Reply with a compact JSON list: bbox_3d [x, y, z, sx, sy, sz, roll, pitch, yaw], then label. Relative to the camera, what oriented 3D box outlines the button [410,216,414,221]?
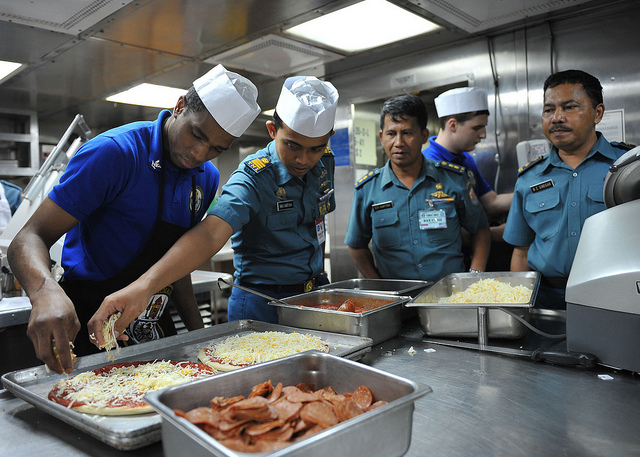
[{"bbox_3d":[0.558,-0.065,2.661,0.022,0.018,0.004,2,12,13],"label":"button"}]

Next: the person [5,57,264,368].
[{"bbox_3d":[-0.774,-0.059,1.817,0.640,1.203,0.905,10,16,43],"label":"person"}]

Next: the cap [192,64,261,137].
[{"bbox_3d":[-0.368,-0.533,1.837,0.287,0.292,0.202,-7,13,-29],"label":"cap"}]

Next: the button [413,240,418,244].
[{"bbox_3d":[0.577,0.076,2.656,0.026,0.023,0.006,2,12,15],"label":"button"}]

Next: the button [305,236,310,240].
[{"bbox_3d":[-0.063,0.044,2.284,0.018,0.017,0.004,4,-14,-39],"label":"button"}]

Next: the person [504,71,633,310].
[{"bbox_3d":[1.346,-0.210,2.372,0.512,1.211,0.416,-4,12,-17],"label":"person"}]

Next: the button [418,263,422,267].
[{"bbox_3d":[0.601,0.217,2.638,0.022,0.015,0.004,2,12,15],"label":"button"}]

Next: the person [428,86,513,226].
[{"bbox_3d":[1.067,-0.505,3.066,0.624,1.181,0.626,-4,22,21],"label":"person"}]

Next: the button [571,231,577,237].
[{"bbox_3d":[1.297,0.022,2.249,0.023,0.025,0.006,4,-5,15],"label":"button"}]

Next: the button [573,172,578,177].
[{"bbox_3d":[1.323,-0.281,2.272,0.017,0.019,0.005,8,0,19],"label":"button"}]

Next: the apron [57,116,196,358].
[{"bbox_3d":[-0.784,0.041,1.863,0.577,1.021,0.377,-8,14,-33],"label":"apron"}]

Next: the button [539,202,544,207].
[{"bbox_3d":[1.179,-0.130,2.342,0.021,0.023,0.011,4,12,23],"label":"button"}]

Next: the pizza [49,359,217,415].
[{"bbox_3d":[-0.613,0.504,1.444,0.491,0.036,0.323,0,11,4],"label":"pizza"}]

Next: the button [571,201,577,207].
[{"bbox_3d":[1.310,-0.128,2.271,0.026,0.025,0.009,6,13,31],"label":"button"}]

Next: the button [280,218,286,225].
[{"bbox_3d":[-0.177,-0.039,2.167,0.025,0.031,0.006,-11,15,-40],"label":"button"}]

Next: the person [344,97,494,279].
[{"bbox_3d":[0.700,-0.211,2.868,0.813,1.215,1.131,7,14,33],"label":"person"}]

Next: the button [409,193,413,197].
[{"bbox_3d":[0.554,-0.208,2.671,0.012,0.013,0.013,2,6,19],"label":"button"}]

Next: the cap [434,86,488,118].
[{"bbox_3d":[1.032,-0.921,3.239,0.348,0.217,0.390,-12,10,-34],"label":"cap"}]

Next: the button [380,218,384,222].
[{"bbox_3d":[0.385,-0.057,2.715,0.024,0.024,0.006,3,12,17],"label":"button"}]

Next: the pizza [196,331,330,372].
[{"bbox_3d":[-0.233,0.456,1.745,0.497,0.057,0.365,-4,12,-15],"label":"pizza"}]

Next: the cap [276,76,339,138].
[{"bbox_3d":[-0.045,-0.597,2.042,0.259,0.175,0.337,17,42,-12],"label":"cap"}]
